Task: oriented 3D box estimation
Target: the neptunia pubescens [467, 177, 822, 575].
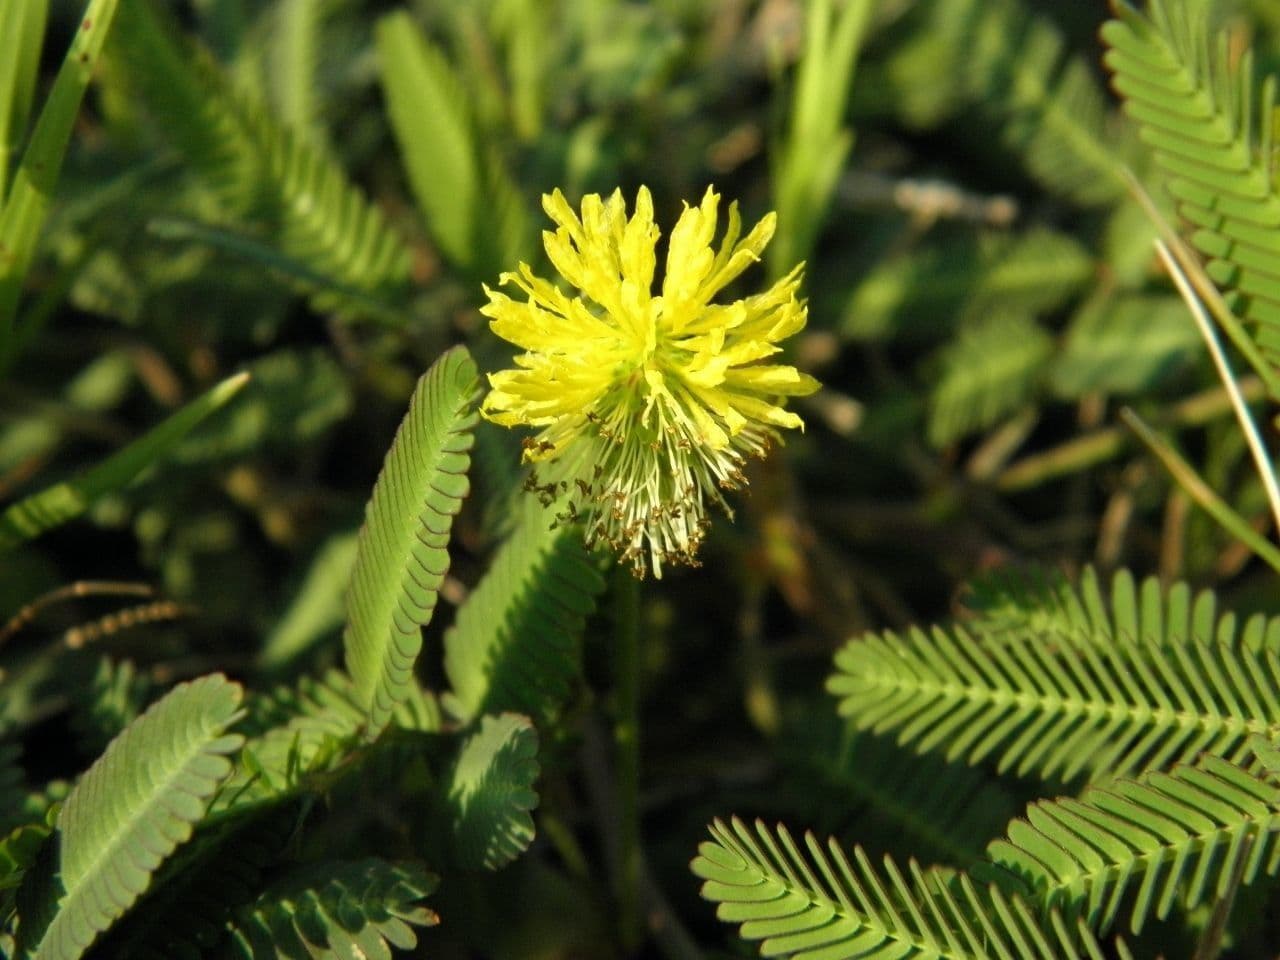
[{"bbox_3d":[0.036,-0.151,1.974,0.399,0.500,0.478,10,57,8],"label":"neptunia pubescens"}]
